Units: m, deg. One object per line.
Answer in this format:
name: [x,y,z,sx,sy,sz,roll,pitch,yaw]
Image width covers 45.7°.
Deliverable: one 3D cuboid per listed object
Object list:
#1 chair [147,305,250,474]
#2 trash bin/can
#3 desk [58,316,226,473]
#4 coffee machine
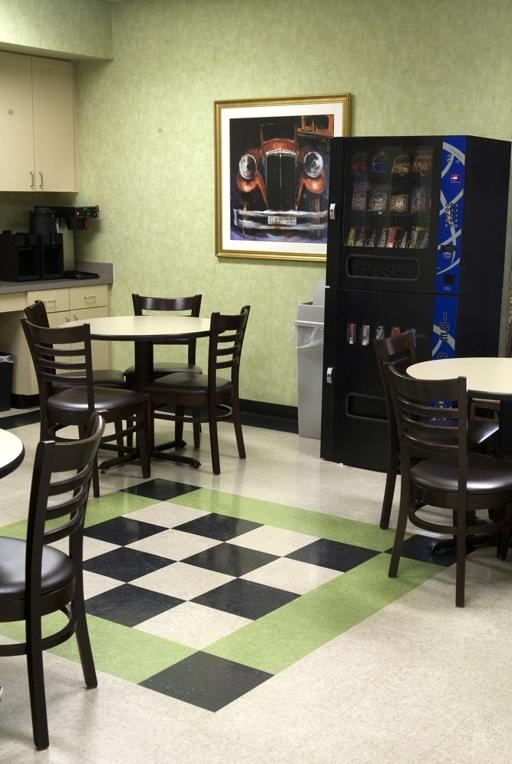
chair: [-0.395,0.006,4.263,0.656,1.045,1.422,1,5,-5]
trash bin/can: [0.404,-0.068,4.499,0.320,1.018,0.227,5,6,35]
desk: [-0.619,0.019,3.992,1.001,0.964,0.999,1,19,2]
coffee machine: [-1.910,-1.324,5.760,0.447,0.733,0.759,5,6,36]
